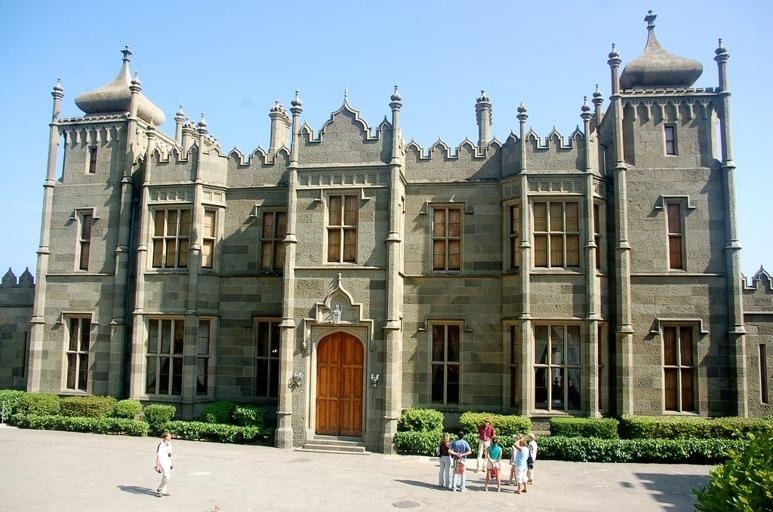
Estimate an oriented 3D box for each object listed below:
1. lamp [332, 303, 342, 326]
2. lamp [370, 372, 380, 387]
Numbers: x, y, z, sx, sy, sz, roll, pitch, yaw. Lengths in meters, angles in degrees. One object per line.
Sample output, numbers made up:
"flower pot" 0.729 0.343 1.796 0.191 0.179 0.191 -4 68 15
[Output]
"lamp" -2.234 2.609 36.356 0.449 0.896 0.246 2 -9 -7
"lamp" -0.520 5.549 35.964 0.697 0.642 0.183 -1 -1 2
